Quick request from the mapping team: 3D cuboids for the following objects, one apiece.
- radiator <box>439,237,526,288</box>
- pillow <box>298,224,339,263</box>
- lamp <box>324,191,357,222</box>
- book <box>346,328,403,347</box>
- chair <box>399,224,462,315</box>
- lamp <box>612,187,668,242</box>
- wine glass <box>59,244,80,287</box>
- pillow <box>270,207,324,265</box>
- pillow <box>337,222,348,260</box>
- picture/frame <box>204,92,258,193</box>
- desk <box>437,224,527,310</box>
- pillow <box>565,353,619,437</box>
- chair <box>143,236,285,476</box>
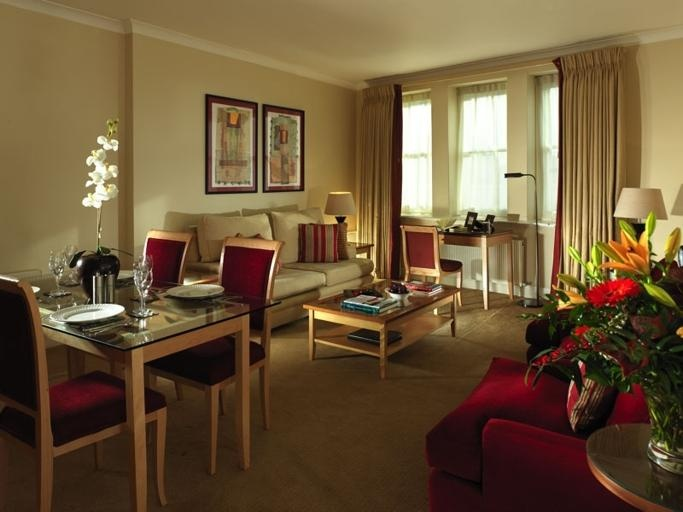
[{"bbox_3d":[1.868,0.008,6.088,0.400,0.515,0.548,-22,-6,32],"label":"radiator"},{"bbox_3d":[-0.246,-0.141,5.854,0.461,0.484,0.167,0,-2,-10],"label":"pillow"},{"bbox_3d":[-0.001,-0.648,6.636,0.374,0.440,0.387,5,7,42],"label":"lamp"},{"bbox_3d":[0.282,0.658,4.232,0.449,0.056,0.346,5,12,19],"label":"book"},{"bbox_3d":[1.080,0.097,5.977,0.615,0.963,0.691,2,10,23],"label":"chair"},{"bbox_3d":[2.985,-0.365,5.089,0.496,0.615,0.513,4,4,11],"label":"lamp"},{"bbox_3d":[-1.632,0.057,3.105,0.137,0.250,0.153,-2,4,-32],"label":"wine glass"},{"bbox_3d":[-0.567,-0.236,5.734,0.600,0.566,0.171,2,-8,-37],"label":"pillow"},{"bbox_3d":[0.016,-0.159,6.006,0.155,0.481,0.413,-2,-1,6],"label":"pillow"},{"bbox_3d":[-1.217,-1.238,5.671,0.120,1.058,0.748,7,13,33],"label":"picture/frame"},{"bbox_3d":[1.622,0.068,6.291,0.678,0.812,0.863,-10,12,-32],"label":"desk"},{"bbox_3d":[1.012,0.638,2.161,0.087,0.232,0.225,30,-29,-19],"label":"pillow"},{"bbox_3d":[-0.759,0.545,3.089,0.608,1.182,0.702,6,9,30],"label":"chair"}]
